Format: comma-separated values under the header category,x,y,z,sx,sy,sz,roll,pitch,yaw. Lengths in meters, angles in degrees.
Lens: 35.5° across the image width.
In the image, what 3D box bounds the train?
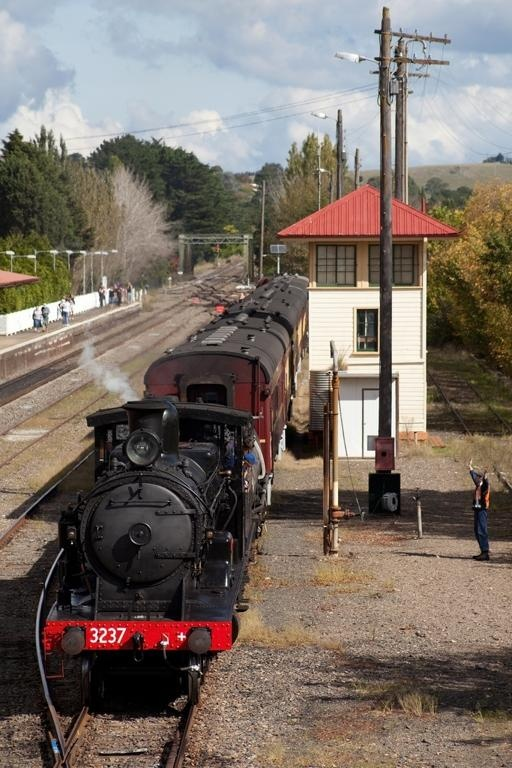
category,x,y,z,sx,sy,sz,roll,pitch,yaw
train,-0.748,0.334,13.564,1.685,2.580,13.022,1,13,4

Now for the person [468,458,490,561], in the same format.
category,x,y,z,sx,sy,sz,roll,pitch,yaw
person,3.848,2.287,13.792,0.388,1.558,0.700,4,9,16
